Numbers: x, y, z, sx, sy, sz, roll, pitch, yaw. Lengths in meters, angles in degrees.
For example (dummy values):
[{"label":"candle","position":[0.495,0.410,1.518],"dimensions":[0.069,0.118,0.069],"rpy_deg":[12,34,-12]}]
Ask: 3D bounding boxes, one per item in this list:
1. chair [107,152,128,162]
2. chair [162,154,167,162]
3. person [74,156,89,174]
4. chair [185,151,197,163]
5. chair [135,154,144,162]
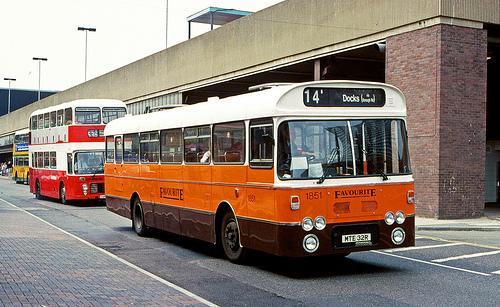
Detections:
[{"label":"chair","position":[-5.379,0.219,19.024],"dimensions":[0.570,0.349,0.578],"rpy_deg":[3,-1,-36]},{"label":"chair","position":[-2.868,0.136,15.618],"dimensions":[0.172,0.235,0.235],"rpy_deg":[6,-8,-31]},{"label":"person","position":[-9.992,0.635,26.719],"dimensions":[0.868,0.910,1.584],"rpy_deg":[0,5,-34]},{"label":"chair","position":[-1.820,0.099,14.405],"dimensions":[0.308,0.380,0.545],"rpy_deg":[2,-3,-23]},{"label":"chair","position":[-3.954,0.164,16.942],"dimensions":[0.265,0.242,0.430],"rpy_deg":[-1,6,-25]}]
